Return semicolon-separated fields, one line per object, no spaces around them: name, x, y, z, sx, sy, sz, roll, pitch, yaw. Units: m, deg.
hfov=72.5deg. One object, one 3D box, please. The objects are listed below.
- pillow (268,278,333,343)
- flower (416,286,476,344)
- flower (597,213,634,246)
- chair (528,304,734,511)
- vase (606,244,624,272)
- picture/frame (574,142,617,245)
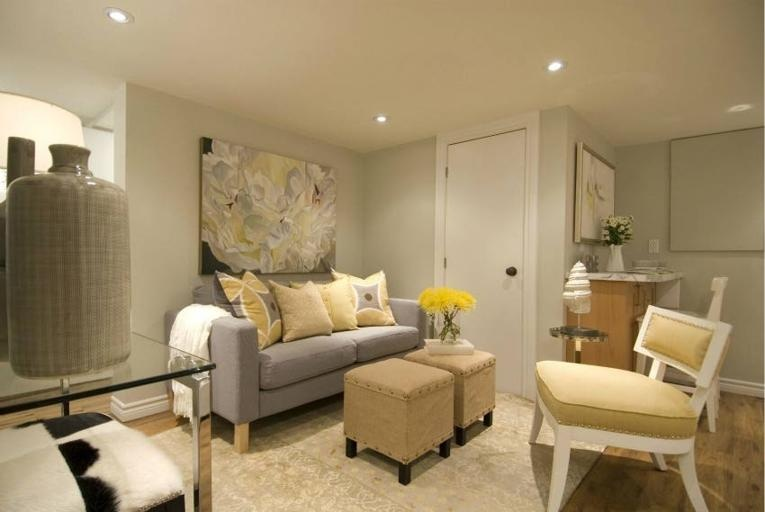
pillow;-0.694;0.466;4.350;0.146;0.491;0.484;-32;-18;34
flower;0.531;0.433;4.308;0.546;0.595;0.518;-1;-3;9
flower;2.277;-0.243;5.125;0.324;0.326;0.320;6;-6;-38
chair;1.593;0.894;3.864;1.233;1.524;1.174;3;-5;15
vase;2.232;0.014;5.013;0.141;0.257;0.181;2;3;28
picture/frame;1.996;-0.579;4.928;0.040;0.776;1.034;3;1;35
